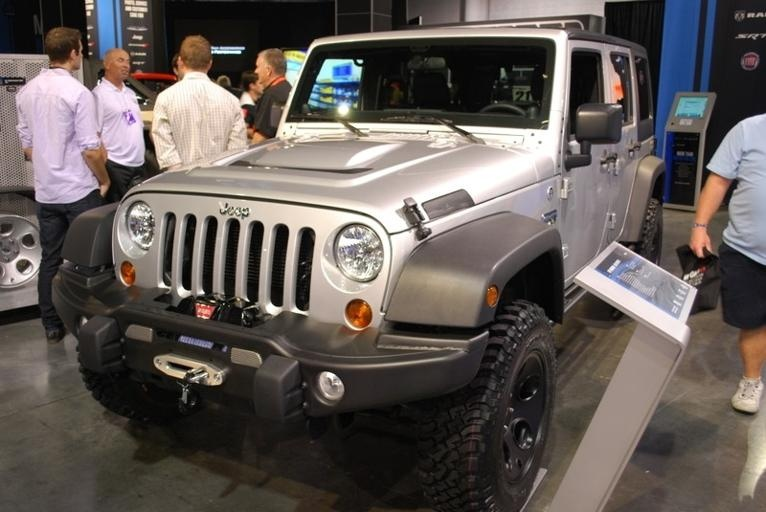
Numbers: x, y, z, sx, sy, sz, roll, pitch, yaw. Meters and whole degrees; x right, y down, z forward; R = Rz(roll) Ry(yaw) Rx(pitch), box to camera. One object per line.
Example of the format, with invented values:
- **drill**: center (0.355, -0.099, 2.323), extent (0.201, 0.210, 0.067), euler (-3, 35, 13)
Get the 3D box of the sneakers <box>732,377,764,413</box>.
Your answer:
- **sneakers**: center (2.545, 0.976, 3.693), extent (0.125, 0.137, 0.340), euler (5, 12, 33)
